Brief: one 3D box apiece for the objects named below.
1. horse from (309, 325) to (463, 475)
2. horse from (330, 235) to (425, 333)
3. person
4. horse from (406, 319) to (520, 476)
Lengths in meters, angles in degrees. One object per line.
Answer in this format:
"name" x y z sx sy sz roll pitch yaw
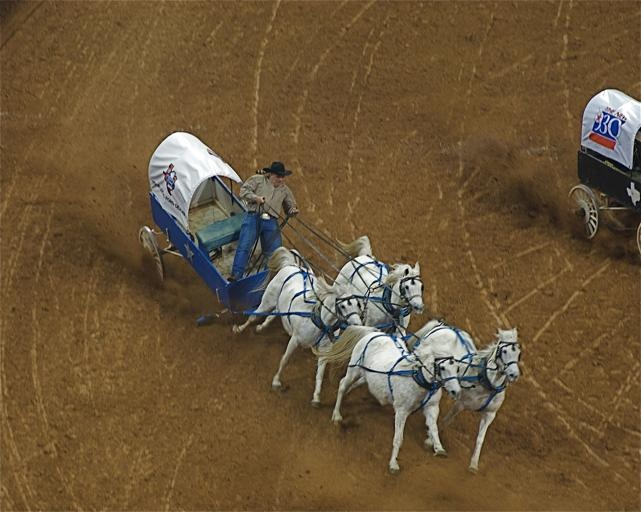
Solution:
"horse" 1.630 2.970 38.674 1.409 3.332 4.596 -8 23 -39
"horse" 1.260 1.036 40.001 0.871 2.596 3.959 6 16 -27
"person" -1.330 -0.832 40.177 1.146 3.061 0.977 8 15 -12
"horse" 3.669 2.706 38.479 2.061 3.787 2.143 12 24 30
